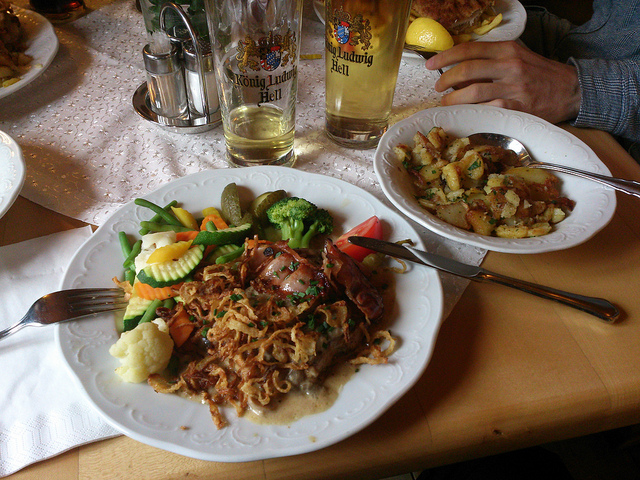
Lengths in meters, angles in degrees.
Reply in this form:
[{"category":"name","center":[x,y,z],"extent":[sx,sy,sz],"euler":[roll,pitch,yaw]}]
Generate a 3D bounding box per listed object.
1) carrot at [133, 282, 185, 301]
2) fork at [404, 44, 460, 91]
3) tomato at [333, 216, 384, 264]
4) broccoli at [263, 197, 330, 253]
[{"category":"carrot","center":[-0.539,0.167,1.762],"extent":[0.103,0.068,0.027],"euler":[3,45,-28]},{"category":"fork","center":[0.549,-0.840,2.562],"extent":[0.056,0.060,0.420],"euler":[-41,53,0]},{"category":"tomato","center":[0.167,-0.015,1.918],"extent":[0.136,0.090,0.146],"euler":[-18,66,33]},{"category":"broccoli","center":[-0.041,-0.054,1.978],"extent":[0.230,0.222,0.234],"euler":[8,82,22]}]
